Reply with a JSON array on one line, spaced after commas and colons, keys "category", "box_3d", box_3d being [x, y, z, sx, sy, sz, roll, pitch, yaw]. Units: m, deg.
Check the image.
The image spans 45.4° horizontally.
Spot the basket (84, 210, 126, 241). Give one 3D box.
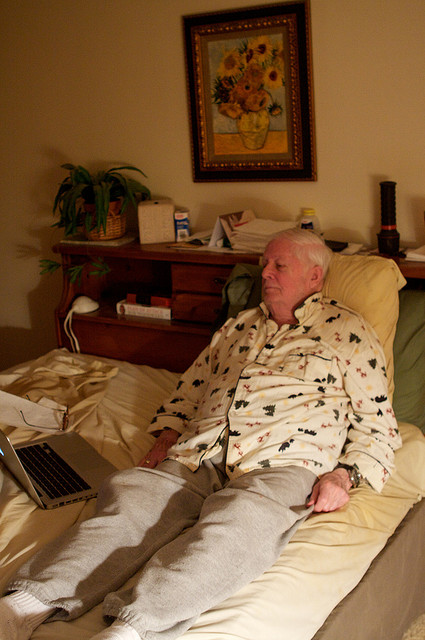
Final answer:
[{"category": "basket", "box_3d": [-0.532, -0.462, 2.524, 0.164, 0.106, 0.159, -1, 16, 8]}]

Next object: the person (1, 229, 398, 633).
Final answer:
[{"category": "person", "box_3d": [-0.026, 0.165, 1.188, 0.545, 0.540, 1.009, 12, 27, 38]}]

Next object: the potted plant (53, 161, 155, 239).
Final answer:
[{"category": "potted plant", "box_3d": [-0.553, -0.522, 2.544, 0.443, 0.304, 0.466, 0, 5, -2]}]

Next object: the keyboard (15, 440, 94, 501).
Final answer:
[{"category": "keyboard", "box_3d": [-0.450, 0.404, 1.391, 0.155, 0.014, 0.353, -8, 18, -39]}]

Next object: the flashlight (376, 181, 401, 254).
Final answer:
[{"category": "flashlight", "box_3d": [0.659, -0.384, 1.906, 0.072, 0.264, 0.124, 1, 12, 20]}]
